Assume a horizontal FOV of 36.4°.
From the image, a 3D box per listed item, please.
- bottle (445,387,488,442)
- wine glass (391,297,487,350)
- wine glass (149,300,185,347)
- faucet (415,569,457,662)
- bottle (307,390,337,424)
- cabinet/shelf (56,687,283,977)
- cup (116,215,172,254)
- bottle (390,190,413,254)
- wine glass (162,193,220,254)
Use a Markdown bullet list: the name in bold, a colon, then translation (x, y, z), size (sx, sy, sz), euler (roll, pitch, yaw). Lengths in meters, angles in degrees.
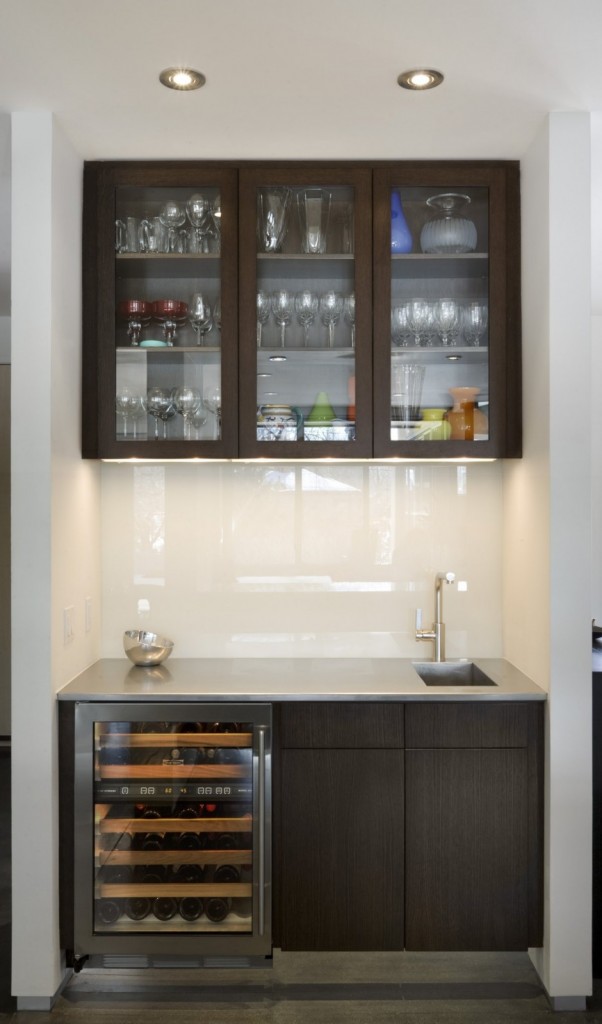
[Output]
- **bottle**: translation (0.509, -0.292, 2.811), size (0.117, 0.176, 0.142), euler (-5, -8, 44)
- **wine glass**: translation (0.427, -0.573, 2.793), size (0.216, 0.104, 0.155), euler (1, 0, 5)
- **wine glass**: translation (-0.405, -0.599, 2.889), size (0.115, 0.162, 0.124), euler (0, -1, 6)
- **faucet**: translation (0.440, 0.332, 3.011), size (0.130, 0.317, 0.218), euler (1, 9, 9)
- **bottle**: translation (0.065, -0.321, 2.788), size (0.080, 0.097, 0.020), euler (0, 2, 2)
- **cabinet/shelf**: translation (-0.366, 0.861, 2.828), size (0.691, 1.112, 0.607), euler (0, -3, 0)
- **cup**: translation (-0.480, -0.836, 2.804), size (0.092, 0.114, 0.150), euler (2, 8, 19)
- **bottle**: translation (0.299, -0.874, 2.769), size (0.071, 0.188, 0.031), euler (-3, 9, -21)
- **wine glass**: translation (-0.326, -0.886, 2.789), size (0.155, 0.181, 0.094), euler (0, -2, 4)
